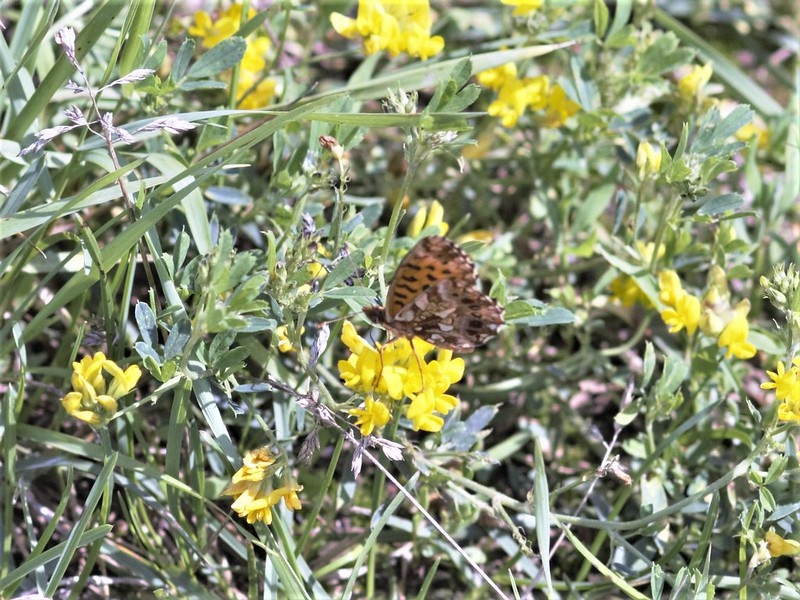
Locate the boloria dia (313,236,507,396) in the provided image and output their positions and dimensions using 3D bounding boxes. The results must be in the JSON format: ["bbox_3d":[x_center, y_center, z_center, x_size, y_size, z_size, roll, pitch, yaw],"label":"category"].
[{"bbox_3d":[0.057,0.023,1.961,0.353,0.382,0.309,5,82,-27],"label":"boloria dia"}]
